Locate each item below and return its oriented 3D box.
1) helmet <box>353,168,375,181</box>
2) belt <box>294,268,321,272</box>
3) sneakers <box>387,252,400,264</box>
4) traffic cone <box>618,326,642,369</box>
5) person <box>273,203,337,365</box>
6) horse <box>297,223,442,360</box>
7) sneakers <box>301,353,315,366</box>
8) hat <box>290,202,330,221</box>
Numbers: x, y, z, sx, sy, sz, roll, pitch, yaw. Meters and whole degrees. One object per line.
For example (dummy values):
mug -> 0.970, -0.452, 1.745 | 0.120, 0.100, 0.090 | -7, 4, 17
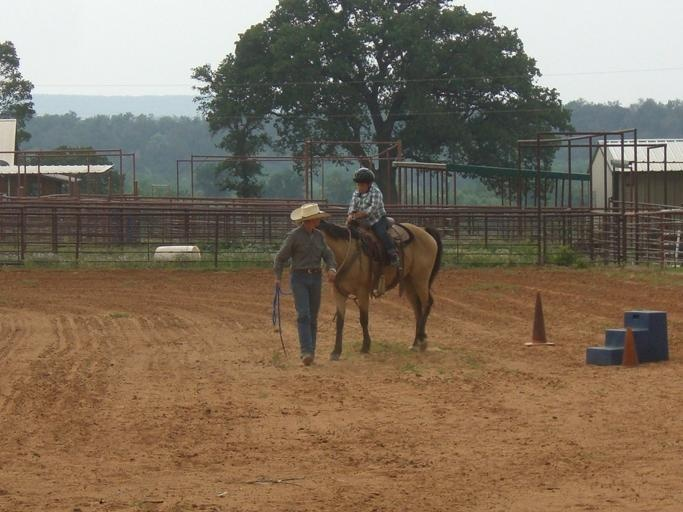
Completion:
helmet -> 0.510, -1.952, 27.746 | 0.423, 0.381, 0.331 | 18, 10, -9
belt -> -0.831, 0.328, 27.159 | 0.628, 0.110, 0.132 | -2, 15, -7
sneakers -> 1.229, 0.075, 27.753 | 0.173, 0.292, 0.195 | -3, -7, -3
traffic cone -> 6.796, 2.156, 26.909 | 0.384, 0.836, 0.467 | 4, 15, 15
person -> -0.873, 0.654, 27.180 | 1.389, 3.736, 1.063 | -7, 16, -27
horse -> 0.618, 0.719, 28.156 | 5.085, 3.480, 1.230 | -4, 3, -39
sneakers -> -0.803, 2.457, 27.091 | 0.343, 0.271, 0.257 | -5, 15, -18
hat -> -0.957, -1.011, 27.104 | 0.617, 0.242, 0.513 | -9, -6, 40
